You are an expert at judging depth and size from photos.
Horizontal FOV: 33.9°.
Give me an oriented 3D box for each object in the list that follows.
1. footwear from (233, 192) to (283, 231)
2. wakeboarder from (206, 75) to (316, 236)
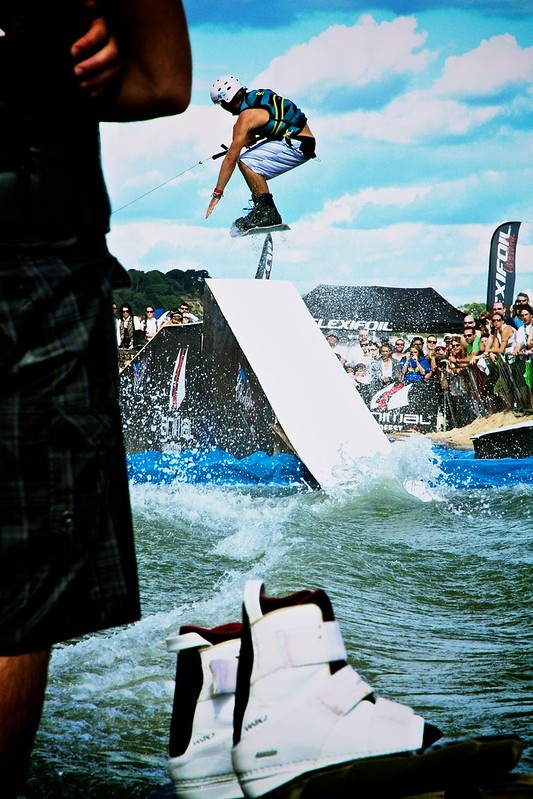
[{"bbox_3d":[-0.084,-1.439,6.692,0.372,0.292,0.256,-1,4,5],"label":"footwear"},{"bbox_3d":[-0.022,-1.821,6.753,0.923,1.058,0.446,-5,6,-41],"label":"wakeboarder"}]
